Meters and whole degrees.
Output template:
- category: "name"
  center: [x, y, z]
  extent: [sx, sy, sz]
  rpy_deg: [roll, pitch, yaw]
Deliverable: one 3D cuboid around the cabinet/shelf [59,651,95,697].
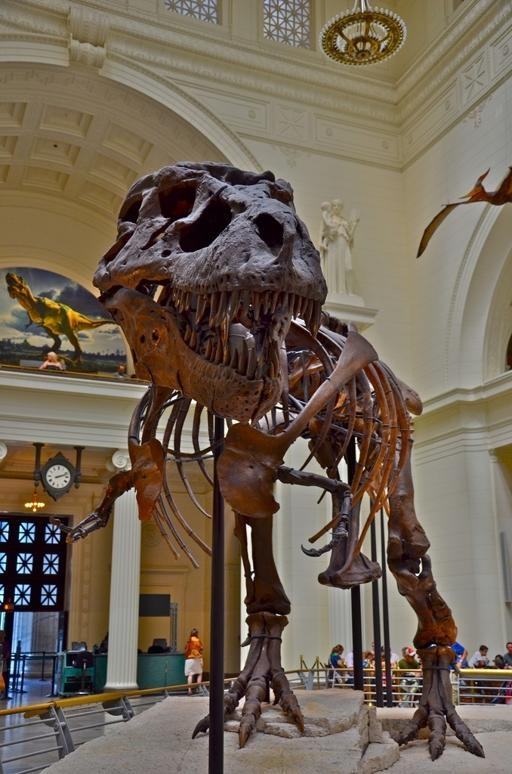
- category: "cabinet/shelf"
  center: [-3.228, 5.169, 10.721]
  extent: [0.598, 0.731, 0.944]
  rpy_deg: [3, -19, -15]
